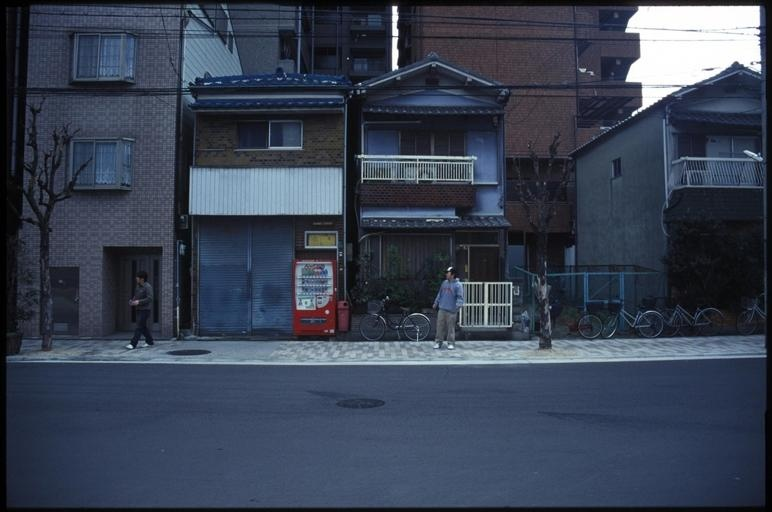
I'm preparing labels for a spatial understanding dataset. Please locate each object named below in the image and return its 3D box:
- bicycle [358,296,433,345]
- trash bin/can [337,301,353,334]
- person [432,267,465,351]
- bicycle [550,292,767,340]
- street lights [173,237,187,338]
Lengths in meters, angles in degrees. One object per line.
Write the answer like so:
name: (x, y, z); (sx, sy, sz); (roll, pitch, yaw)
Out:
bicycle: (0.313, 2.308, 38.385); (2.223, 1.586, 0.683); (0, -1, -5)
trash bin/can: (-1.505, 2.102, 38.102); (0.420, 1.059, 0.248); (0, -4, -13)
person: (2.096, 1.729, 36.355); (1.031, 2.610, 0.565); (3, 0, 29)
bicycle: (9.599, 2.177, 38.343); (7.203, 1.416, 1.383); (-1, -4, -2)
street lights: (-7.457, 1.155, 39.012); (0.291, 3.563, 0.886); (0, -4, -3)
